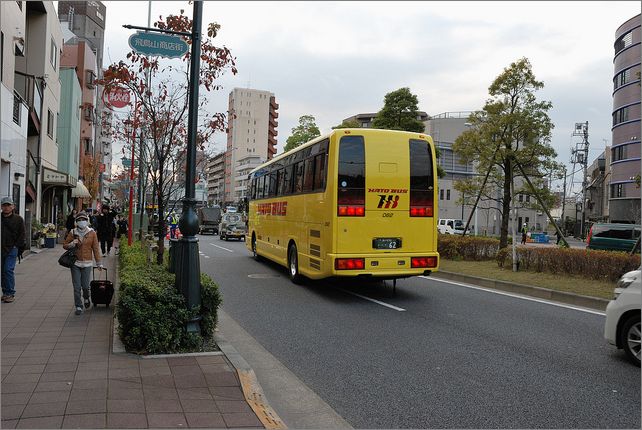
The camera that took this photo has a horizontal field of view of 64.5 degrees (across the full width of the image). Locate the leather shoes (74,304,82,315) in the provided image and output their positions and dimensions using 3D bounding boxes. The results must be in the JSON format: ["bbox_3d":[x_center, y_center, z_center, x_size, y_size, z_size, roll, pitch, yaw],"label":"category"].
[{"bbox_3d":[-5.256,2.037,10.940,0.156,0.175,0.408,3,-11,-29],"label":"leather shoes"}]

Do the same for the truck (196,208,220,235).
[{"bbox_3d":[-8.875,0.440,40.112,2.164,2.351,3.785,1,0,-13],"label":"truck"}]

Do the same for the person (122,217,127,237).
[{"bbox_3d":[-10.894,0.633,27.897,0.384,0.886,1.396,0,4,-20],"label":"person"}]

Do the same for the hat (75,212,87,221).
[{"bbox_3d":[-5.501,0.024,11.587,0.260,0.140,0.372,-2,-7,-32],"label":"hat"}]

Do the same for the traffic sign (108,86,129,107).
[{"bbox_3d":[-5.529,-3.230,13.818,0.510,0.125,0.510,3,-21,-40],"label":"traffic sign"}]

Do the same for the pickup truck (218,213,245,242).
[{"bbox_3d":[-6.141,0.839,35.092,1.590,1.802,2.186,0,4,-13],"label":"pickup truck"}]

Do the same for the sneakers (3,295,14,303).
[{"bbox_3d":[-7.202,1.925,11.643,0.211,0.132,0.253,-1,4,-33],"label":"sneakers"}]

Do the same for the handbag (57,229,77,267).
[{"bbox_3d":[-5.638,0.904,11.253,0.341,0.496,0.292,-1,4,-29],"label":"handbag"}]

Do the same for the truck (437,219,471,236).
[{"bbox_3d":[10.521,0.998,40.533,1.229,0.926,1.683,2,-5,-27],"label":"truck"}]
